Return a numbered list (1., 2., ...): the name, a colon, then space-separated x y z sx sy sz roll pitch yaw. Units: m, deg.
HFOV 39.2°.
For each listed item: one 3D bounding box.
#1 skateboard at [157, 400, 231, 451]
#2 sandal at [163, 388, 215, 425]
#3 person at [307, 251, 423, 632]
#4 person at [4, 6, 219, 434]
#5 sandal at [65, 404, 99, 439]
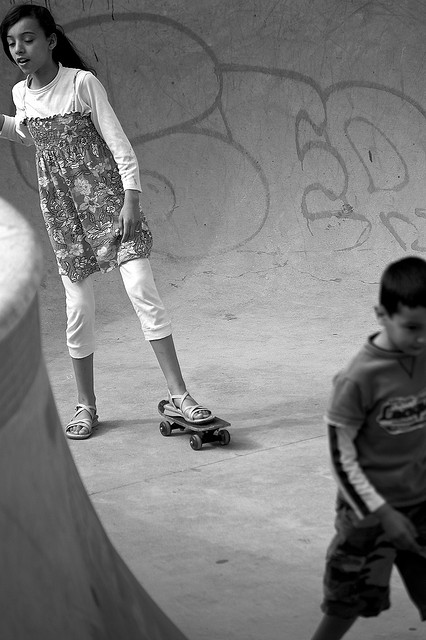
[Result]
1. skateboard: -0.097 0.427 2.450 0.211 0.100 0.441 -8 10 -22
2. sandal: -0.097 0.356 2.457 0.103 0.088 0.222 -9 13 -37
3. person: 0.265 0.271 1.075 0.231 0.766 0.342 -4 11 7
4. person: -0.476 -0.375 2.443 0.661 1.690 0.305 -4 11 8
5. sandal: -0.566 0.422 2.552 0.122 0.119 0.206 -5 10 -5
